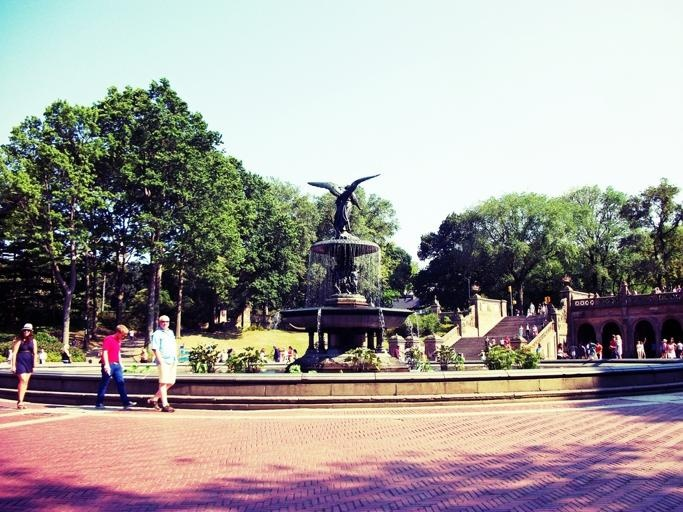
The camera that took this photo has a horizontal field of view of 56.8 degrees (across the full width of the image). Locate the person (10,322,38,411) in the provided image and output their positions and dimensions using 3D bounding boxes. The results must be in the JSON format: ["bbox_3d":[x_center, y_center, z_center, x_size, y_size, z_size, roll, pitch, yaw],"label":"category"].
[{"bbox_3d":[-7.931,2.757,15.698,0.518,2.062,0.944,5,-10,-27],"label":"person"}]

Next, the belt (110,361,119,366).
[{"bbox_3d":[-5.376,2.598,14.994,0.054,0.079,0.224,-3,-10,24],"label":"belt"}]

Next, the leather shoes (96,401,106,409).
[{"bbox_3d":[-5.859,3.662,15.324,0.116,0.110,0.252,4,-10,-38],"label":"leather shoes"}]

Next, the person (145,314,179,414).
[{"bbox_3d":[-4.065,2.514,14.400,0.553,2.186,1.379,3,-9,-15],"label":"person"}]

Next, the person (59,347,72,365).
[{"bbox_3d":[-16.075,5.914,36.677,0.703,1.242,0.810,0,-11,-13],"label":"person"}]

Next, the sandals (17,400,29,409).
[{"bbox_3d":[-7.908,3.729,15.641,0.183,0.216,0.528,6,-16,-30],"label":"sandals"}]
